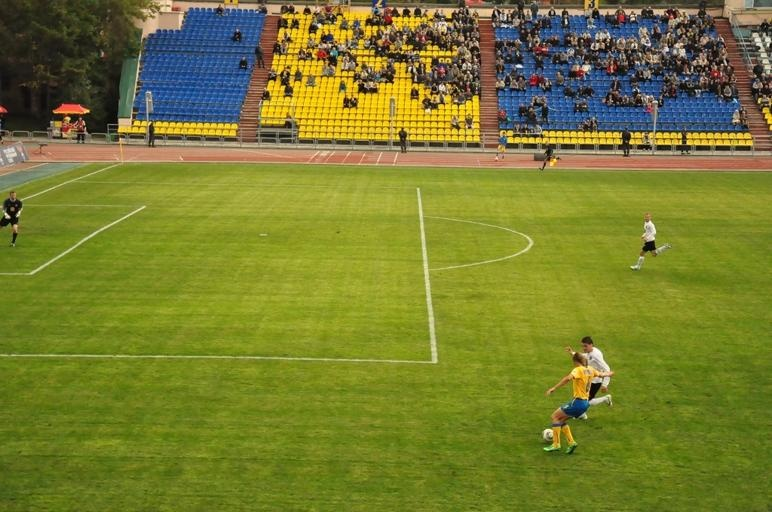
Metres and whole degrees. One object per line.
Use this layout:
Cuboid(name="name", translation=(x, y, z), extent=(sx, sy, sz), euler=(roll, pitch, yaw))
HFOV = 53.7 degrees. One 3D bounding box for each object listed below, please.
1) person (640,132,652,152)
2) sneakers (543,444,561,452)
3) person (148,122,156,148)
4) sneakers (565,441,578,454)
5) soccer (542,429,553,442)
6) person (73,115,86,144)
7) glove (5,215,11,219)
Cuboid(name="person", translation=(21.302, -9.323, 61.996), extent=(0.733, 1.422, 0.701), euler=(3, 8, 14))
Cuboid(name="sneakers", translation=(4.117, 4.701, 18.609), extent=(0.497, 0.181, 0.157), euler=(3, -3, 14))
Cuboid(name="person", translation=(-18.845, -9.696, 60.799), extent=(0.469, 1.870, 1.429), euler=(-2, 8, -17))
Cuboid(name="sneakers", translation=(4.552, 4.687, 18.576), extent=(0.200, 0.412, 0.136), euler=(37, 22, -16))
Cuboid(name="soccer", translation=(4.018, 4.455, 18.833), extent=(0.357, 0.275, 0.337), euler=(12, -16, -38))
Cuboid(name="person", translation=(-25.346, -10.343, 62.798), extent=(0.863, 1.992, 1.476), euler=(-3, 8, -22))
Cuboid(name="glove", translation=(-15.661, -1.595, 31.362), extent=(0.189, 0.075, 0.218), euler=(4, -12, 2))
